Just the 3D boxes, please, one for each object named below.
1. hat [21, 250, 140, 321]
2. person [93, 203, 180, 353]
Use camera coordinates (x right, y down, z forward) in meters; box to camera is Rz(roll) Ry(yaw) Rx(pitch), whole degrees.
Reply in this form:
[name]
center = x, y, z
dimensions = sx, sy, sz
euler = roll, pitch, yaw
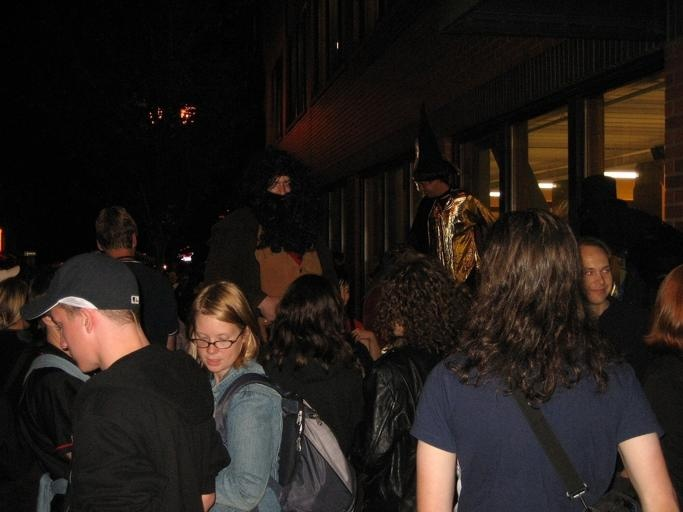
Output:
[hat]
center = -1.211, 0.129, 3.171
dimensions = 0.403, 0.266, 0.315
euler = 5, -2, 0
[person]
center = -1.744, 0.409, 5.627
dimensions = 0.507, 1.582, 0.438
euler = -9, -13, 5
